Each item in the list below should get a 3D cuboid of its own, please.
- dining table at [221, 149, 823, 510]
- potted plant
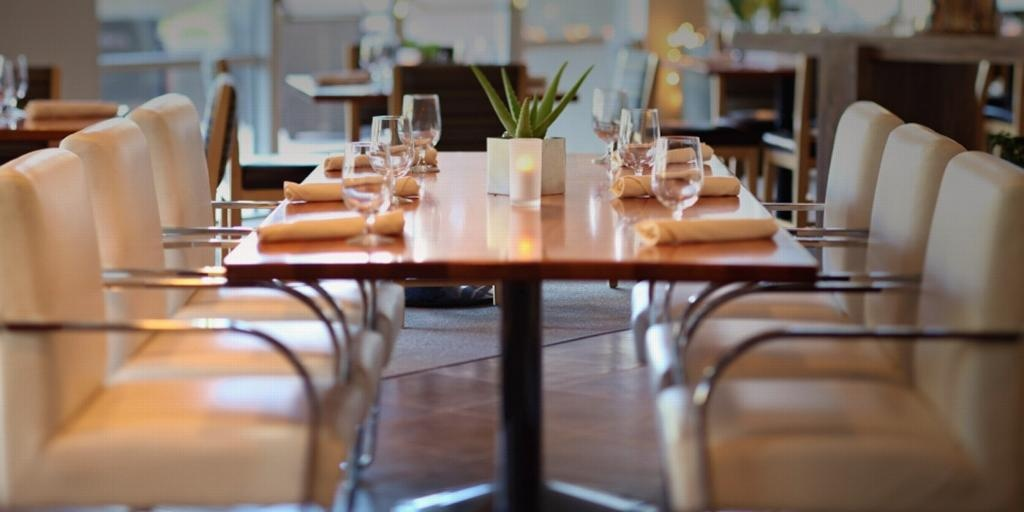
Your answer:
[{"bbox_3d":[0.009,-0.063,3.189,1.422,1.251,1.358,-2,19,-3],"label":"dining table"},{"bbox_3d":[0.079,-0.450,3.219,0.389,0.405,0.411,-4,9,-15],"label":"potted plant"}]
